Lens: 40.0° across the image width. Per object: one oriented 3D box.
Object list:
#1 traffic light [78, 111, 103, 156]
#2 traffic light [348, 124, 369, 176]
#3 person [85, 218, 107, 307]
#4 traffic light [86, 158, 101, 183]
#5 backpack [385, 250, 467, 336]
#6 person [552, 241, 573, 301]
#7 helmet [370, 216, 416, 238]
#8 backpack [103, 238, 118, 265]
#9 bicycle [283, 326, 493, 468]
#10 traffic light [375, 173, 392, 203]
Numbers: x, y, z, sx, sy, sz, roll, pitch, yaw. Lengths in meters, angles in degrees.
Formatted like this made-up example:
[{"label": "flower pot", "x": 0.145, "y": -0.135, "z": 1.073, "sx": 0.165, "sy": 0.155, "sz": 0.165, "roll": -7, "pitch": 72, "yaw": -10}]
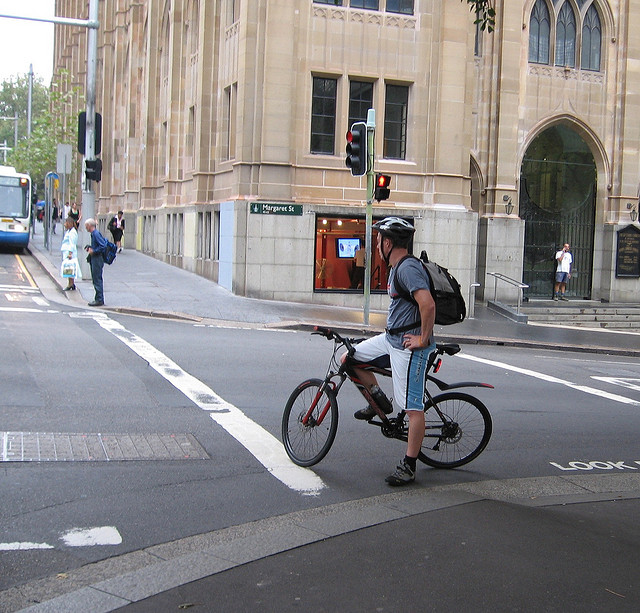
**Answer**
[{"label": "traffic light", "x": -5.415, "y": -4.052, "z": 20.567, "sx": 0.525, "sy": 0.965, "sz": 1.022, "roll": 1, "pitch": 3, "yaw": -18}, {"label": "traffic light", "x": 0.649, "y": -2.761, "z": 15.491, "sx": 0.349, "sy": 0.880, "sz": 0.287, "roll": 2, "pitch": 3, "yaw": 9}, {"label": "person", "x": -4.472, "y": -0.884, "z": 17.417, "sx": 0.419, "sy": 1.685, "sz": 1.230, "roll": 1, "pitch": 3, "yaw": -15}, {"label": "traffic light", "x": -5.393, "y": -3.168, "z": 20.786, "sx": 0.376, "sy": 0.830, "sz": 0.568, "roll": 0, "pitch": 4, "yaw": -8}, {"label": "backpack", "x": 0.779, "y": -0.086, "z": 6.524, "sx": 0.507, "sy": 0.650, "sz": 0.423, "roll": -10, "pitch": -1, "yaw": -23}, {"label": "person", "x": 7.450, "y": -1.050, "z": 27.169, "sx": 0.511, "sy": 1.745, "sz": 0.803, "roll": 3, "pitch": 3, "yaw": 15}, {"label": "helmet", "x": 0.532, "y": -0.571, "z": 6.394, "sx": 0.229, "sy": 0.102, "sz": 0.154, "roll": 8, "pitch": 11, "yaw": 44}, {"label": "backpack", "x": -4.192, "y": -1.084, "z": 17.456, "sx": 0.397, "sy": 0.473, "sz": 0.335, "roll": 3, "pitch": 6, "yaw": -4}, {"label": "bicycle", "x": 0.544, "y": 0.711, "z": 7.161, "sx": 1.637, "sy": 1.358, "sz": 0.904, "roll": 4, "pitch": 2, "yaw": 3}, {"label": "traffic light", "x": 1.104, "y": -2.162, "z": 15.966, "sx": 0.259, "sy": 0.506, "sz": 0.791, "roll": 2, "pitch": 3, "yaw": 4}]
